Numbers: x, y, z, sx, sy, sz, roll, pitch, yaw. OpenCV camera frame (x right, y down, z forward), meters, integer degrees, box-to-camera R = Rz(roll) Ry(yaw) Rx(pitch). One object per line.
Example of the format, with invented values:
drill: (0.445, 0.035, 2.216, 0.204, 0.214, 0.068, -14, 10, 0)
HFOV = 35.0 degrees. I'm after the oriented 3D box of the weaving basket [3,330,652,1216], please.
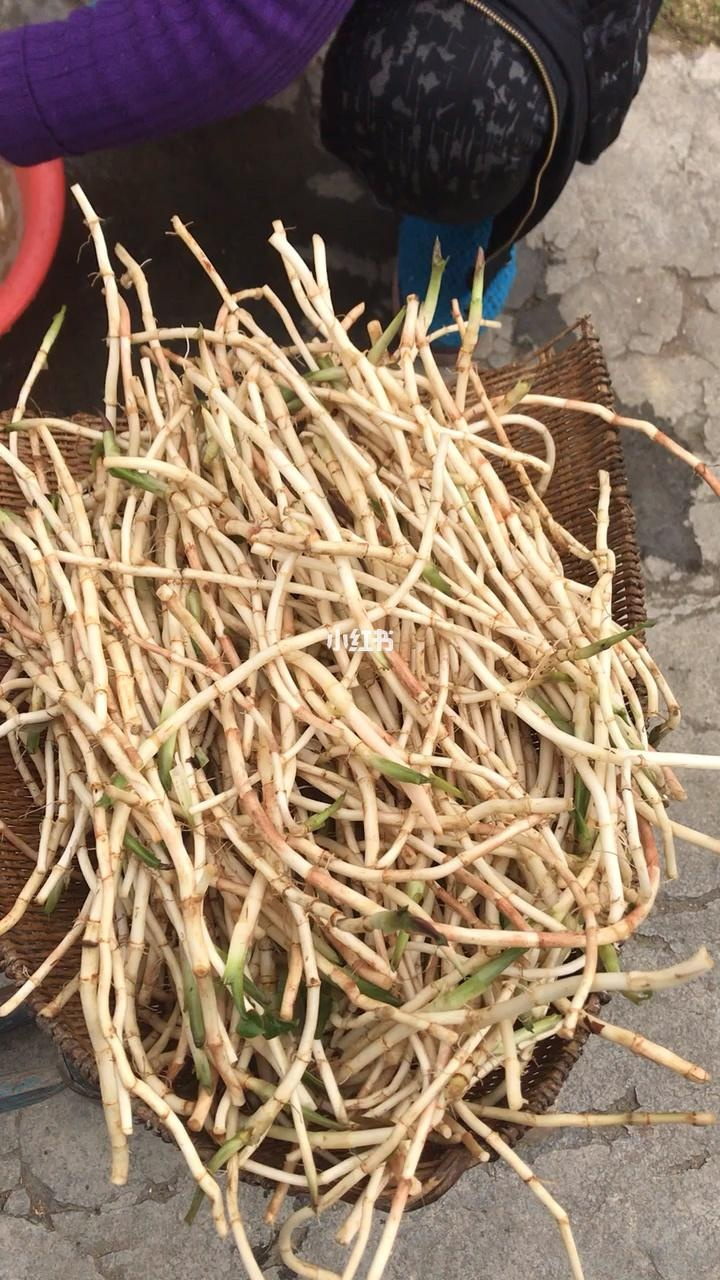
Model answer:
weaving basket: (0.008, 0.083, 1.123, 0.589, 0.257, 0.815, 2, 63, -22)
